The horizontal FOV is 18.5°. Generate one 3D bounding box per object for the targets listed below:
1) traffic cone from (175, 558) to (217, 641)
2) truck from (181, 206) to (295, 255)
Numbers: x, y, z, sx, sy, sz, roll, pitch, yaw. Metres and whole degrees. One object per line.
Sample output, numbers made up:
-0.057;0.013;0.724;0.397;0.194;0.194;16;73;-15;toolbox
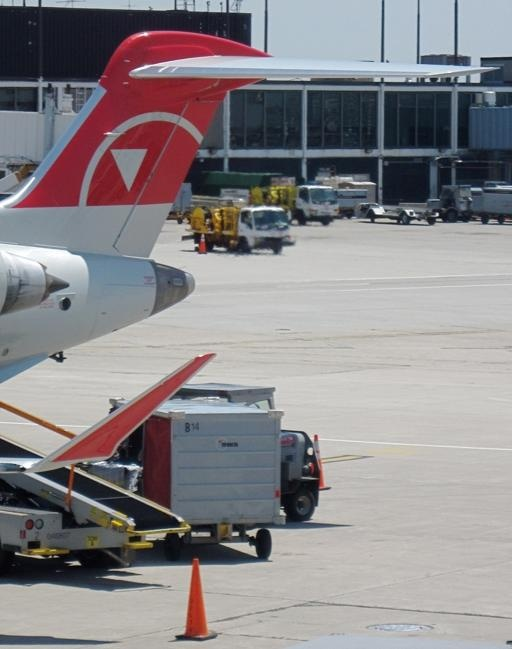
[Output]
-0.596;2.688;15.420;0.334;0.747;0.372;0;1;24;traffic cone
-0.892;-3.999;65.060;2.146;1.986;5.374;-6;10;-38;truck
